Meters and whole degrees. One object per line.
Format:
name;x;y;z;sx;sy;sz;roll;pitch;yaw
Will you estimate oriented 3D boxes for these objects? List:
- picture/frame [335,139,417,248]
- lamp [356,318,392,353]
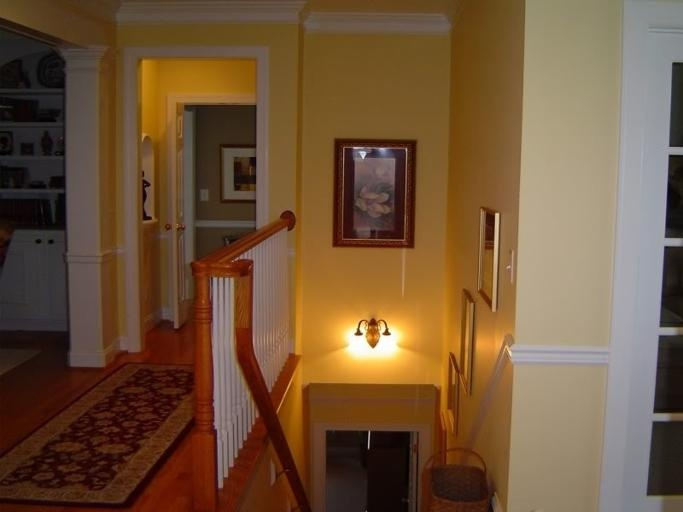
picture/frame;0.346;-0.650;5.766;0.859;1.273;0.052;1;3;-2
lamp;0.324;0.753;5.835;0.292;0.305;0.094;-1;0;-3
